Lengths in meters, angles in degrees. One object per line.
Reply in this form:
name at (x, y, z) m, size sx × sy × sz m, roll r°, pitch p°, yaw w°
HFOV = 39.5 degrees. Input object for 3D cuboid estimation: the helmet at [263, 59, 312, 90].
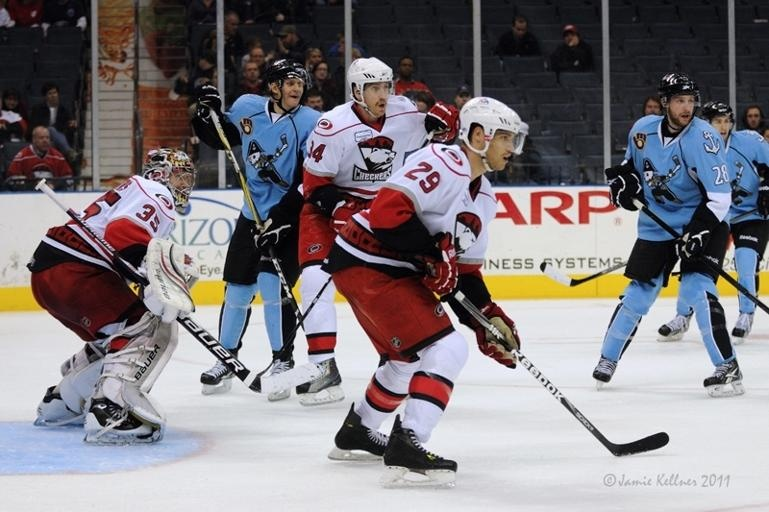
helmet at (-0.670, -1.248, 7.255) m, size 0.268 × 0.216 × 0.185 m, roll -10°, pitch 34°, yaw 2°

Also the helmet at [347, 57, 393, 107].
helmet at (-0.077, -1.133, 6.897) m, size 0.331 × 0.326 × 0.270 m, roll 1°, pitch 9°, yaw 39°

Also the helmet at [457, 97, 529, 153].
helmet at (0.604, -0.713, 5.905) m, size 0.377 × 0.311 × 0.277 m, roll 6°, pitch 17°, yaw 5°

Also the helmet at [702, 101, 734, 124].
helmet at (2.649, -1.148, 8.564) m, size 0.206 × 0.185 × 0.174 m, roll -6°, pitch 4°, yaw 11°

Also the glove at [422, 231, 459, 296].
glove at (0.347, 0.062, 5.652) m, size 0.136 × 0.285 × 0.219 m, roll -15°, pitch 55°, yaw -34°

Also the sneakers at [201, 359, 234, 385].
sneakers at (-1.126, 0.792, 7.234) m, size 0.144 × 0.191 × 0.460 m, roll 33°, pitch -2°, yaw 5°

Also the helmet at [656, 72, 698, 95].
helmet at (1.932, -1.138, 7.124) m, size 0.173 × 0.153 × 0.217 m, roll -6°, pitch 12°, yaw -16°

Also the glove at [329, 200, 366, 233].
glove at (-0.243, -0.271, 6.697) m, size 0.230 × 0.089 × 0.165 m, roll -42°, pitch 34°, yaw -15°

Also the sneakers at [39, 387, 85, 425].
sneakers at (-1.946, 0.909, 6.463) m, size 0.284 × 0.192 × 0.208 m, roll 11°, pitch -8°, yaw -12°

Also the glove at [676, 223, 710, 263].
glove at (1.981, -0.089, 6.902) m, size 0.101 × 0.173 × 0.235 m, roll 20°, pitch -37°, yaw -38°

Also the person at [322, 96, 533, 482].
person at (0.198, 0.161, 5.740) m, size 1.065 × 2.007 × 0.576 m, roll -2°, pitch 6°, yaw -4°

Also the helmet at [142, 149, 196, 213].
helmet at (-1.344, -0.468, 6.691) m, size 0.385 × 0.398 × 0.347 m, roll 0°, pitch 6°, yaw -13°

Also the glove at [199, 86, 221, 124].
glove at (-1.210, -1.072, 7.496) m, size 0.194 × 0.208 × 0.220 m, roll -2°, pitch -6°, yaw -15°

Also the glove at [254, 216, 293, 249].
glove at (-0.738, -0.144, 7.118) m, size 0.188 × 0.238 × 0.107 m, roll 52°, pitch 9°, yaw 36°

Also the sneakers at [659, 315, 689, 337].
sneakers at (2.371, 0.554, 8.751) m, size 0.119 × 0.150 × 0.370 m, roll 41°, pitch 32°, yaw 27°
